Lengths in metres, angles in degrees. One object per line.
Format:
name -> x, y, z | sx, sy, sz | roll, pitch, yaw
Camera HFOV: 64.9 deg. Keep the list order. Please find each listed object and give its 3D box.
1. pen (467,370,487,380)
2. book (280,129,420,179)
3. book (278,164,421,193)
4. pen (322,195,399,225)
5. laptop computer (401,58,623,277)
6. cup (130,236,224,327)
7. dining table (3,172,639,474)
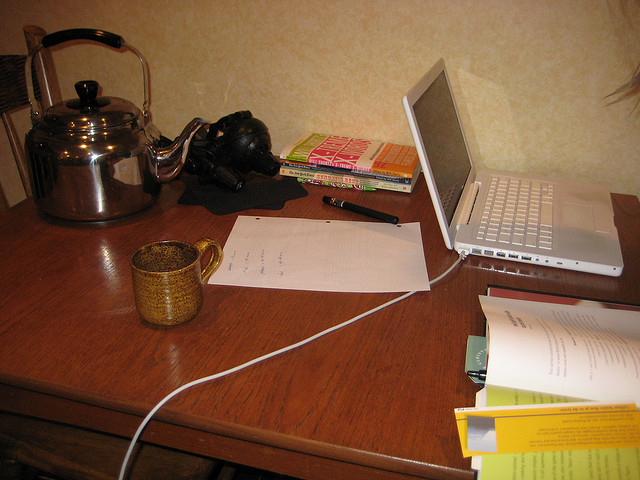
pen -> 0.231, 0.197, 0.731 | 0.040, 0.016, 0.009 | -1, -9, 18
book -> 0.076, -0.209, 1.207 | 0.256, 0.026, 0.149 | 11, 34, 12
book -> 0.055, -0.144, 1.181 | 0.191, 0.019, 0.134 | 10, 27, 8
pen -> 0.087, -0.063, 1.092 | 0.165, 0.018, 0.019 | 18, -7, 27
laptop computer -> 0.398, -0.169, 0.997 | 0.402, 0.287, 0.379 | 9, 33, 20
cup -> -0.236, 0.064, 0.853 | 0.107, 0.112, 0.170 | 17, 27, 23
dining table -> -0.055, 0.125, 0.928 | 1.011, 0.234, 0.558 | 10, 50, 8
